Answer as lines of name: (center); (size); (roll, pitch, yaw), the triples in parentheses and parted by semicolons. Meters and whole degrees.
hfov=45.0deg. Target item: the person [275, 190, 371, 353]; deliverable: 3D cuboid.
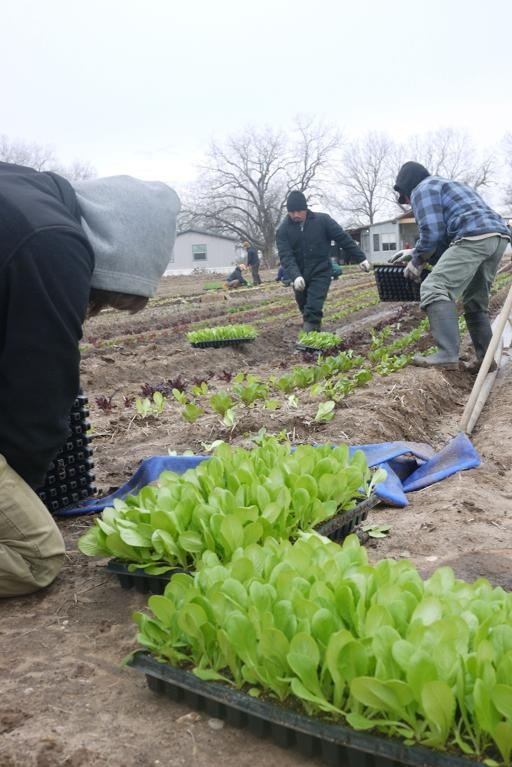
person: (0.780, -1.506, 7.761); (0.981, 1.758, 0.616); (-6, 12, -4)

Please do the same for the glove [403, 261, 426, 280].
glove: (1.353, -0.978, 5.298); (0.177, 0.078, 0.226); (17, -22, 18)

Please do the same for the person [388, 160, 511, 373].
person: (1.632, -0.969, 5.075); (0.764, 1.789, 0.973); (-4, 12, 5)

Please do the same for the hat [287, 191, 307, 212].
hat: (0.487, -2.208, 7.516); (0.232, 0.278, 0.308); (-4, 11, 5)

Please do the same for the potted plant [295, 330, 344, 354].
potted plant: (0.763, -0.494, 7.588); (0.437, 0.171, 0.389); (2, 12, 10)
